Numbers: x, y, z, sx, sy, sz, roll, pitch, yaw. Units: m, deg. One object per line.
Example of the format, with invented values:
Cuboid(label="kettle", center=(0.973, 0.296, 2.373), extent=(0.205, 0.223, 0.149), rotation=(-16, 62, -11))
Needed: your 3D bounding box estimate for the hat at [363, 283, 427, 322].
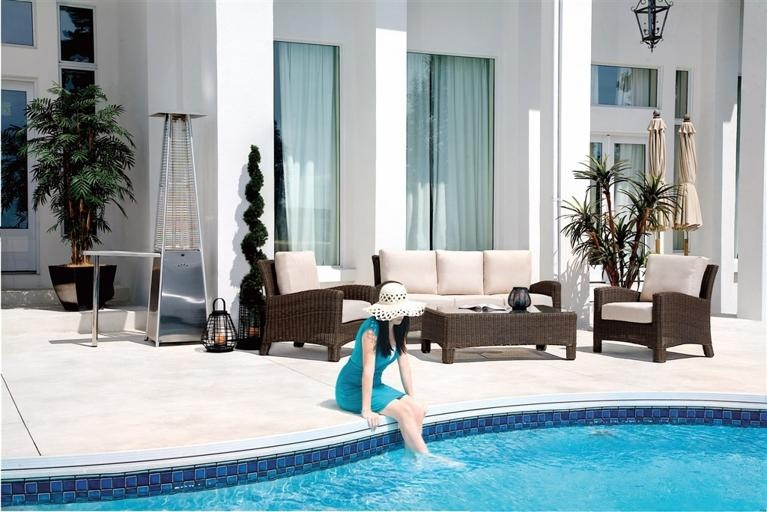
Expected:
Cuboid(label="hat", center=(0.114, 0.338, 5.370), extent=(0.346, 0.196, 0.359), rotation=(3, 10, 25))

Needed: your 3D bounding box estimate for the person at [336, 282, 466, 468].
Cuboid(label="person", center=(-0.012, 0.949, 5.418), extent=(0.787, 1.429, 0.466), rotation=(-1, 4, -3))
